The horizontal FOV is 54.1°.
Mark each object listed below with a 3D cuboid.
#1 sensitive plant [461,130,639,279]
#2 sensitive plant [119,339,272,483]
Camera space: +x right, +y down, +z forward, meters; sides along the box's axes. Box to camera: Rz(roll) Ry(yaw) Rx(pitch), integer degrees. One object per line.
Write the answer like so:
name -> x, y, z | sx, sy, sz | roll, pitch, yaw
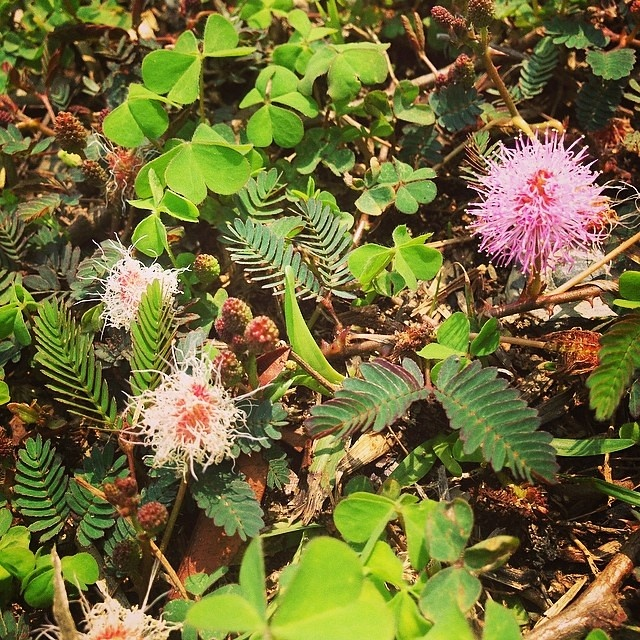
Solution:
sensitive plant -> 1.053, -0.500, 2.769 | 0.543, 0.523, 0.498 | -25, 67, -11
sensitive plant -> -0.498, 0.344, 2.446 | 0.581, 0.328, 0.490 | -6, 67, -8
